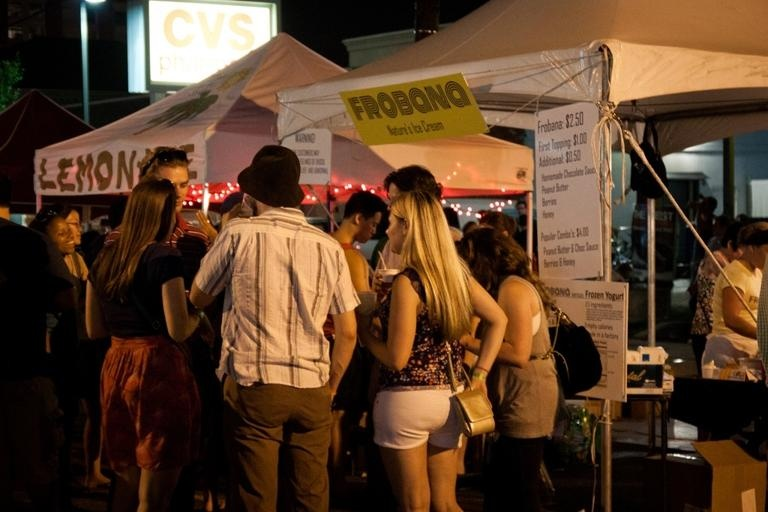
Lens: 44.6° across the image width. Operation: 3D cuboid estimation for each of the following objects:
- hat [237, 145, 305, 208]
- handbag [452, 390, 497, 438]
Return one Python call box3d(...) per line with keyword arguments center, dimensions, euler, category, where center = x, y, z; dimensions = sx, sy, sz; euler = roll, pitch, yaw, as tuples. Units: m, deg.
box3d(center=(-0.903, -0.651, 7.562), dimensions=(0.503, 0.291, 0.478), euler=(21, 36, 20), category="hat")
box3d(center=(0.722, 1.239, 7.476), dimensions=(0.273, 0.382, 0.132), euler=(-6, -17, -26), category="handbag")
